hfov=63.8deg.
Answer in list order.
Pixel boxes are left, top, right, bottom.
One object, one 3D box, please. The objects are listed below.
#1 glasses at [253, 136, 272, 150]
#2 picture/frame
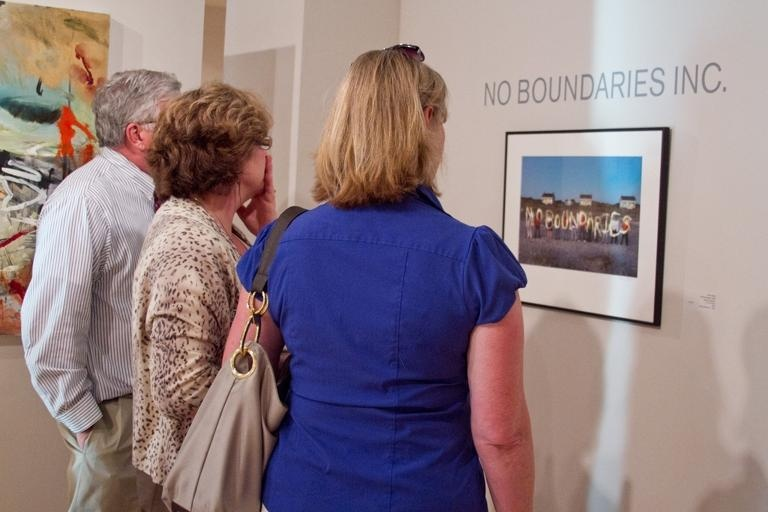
[{"bbox_3d":[-0.502,-0.463,2.575,0.054,0.061,0.018,6,44,-26],"label":"glasses"},{"bbox_3d":[1.012,-0.179,3.216,0.792,1.042,0.024,6,35,24],"label":"picture/frame"}]
